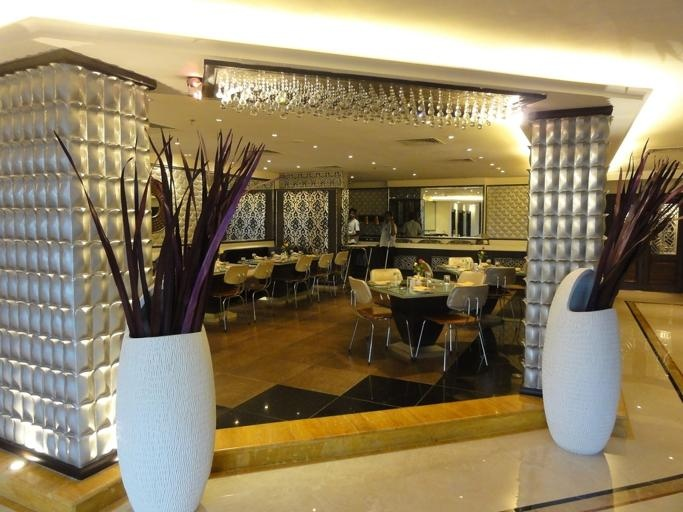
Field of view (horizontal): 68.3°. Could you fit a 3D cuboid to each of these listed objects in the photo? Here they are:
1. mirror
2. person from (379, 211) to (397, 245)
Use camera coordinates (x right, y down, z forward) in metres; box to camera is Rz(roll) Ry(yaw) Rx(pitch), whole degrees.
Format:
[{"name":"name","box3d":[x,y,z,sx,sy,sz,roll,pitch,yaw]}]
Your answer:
[{"name":"mirror","box3d":[3.362,-1.337,14.798,1.604,1.359,0.516,1,6,22]},{"name":"person","box3d":[1.264,-0.687,13.829,0.428,0.971,0.905,0,7,6]}]
